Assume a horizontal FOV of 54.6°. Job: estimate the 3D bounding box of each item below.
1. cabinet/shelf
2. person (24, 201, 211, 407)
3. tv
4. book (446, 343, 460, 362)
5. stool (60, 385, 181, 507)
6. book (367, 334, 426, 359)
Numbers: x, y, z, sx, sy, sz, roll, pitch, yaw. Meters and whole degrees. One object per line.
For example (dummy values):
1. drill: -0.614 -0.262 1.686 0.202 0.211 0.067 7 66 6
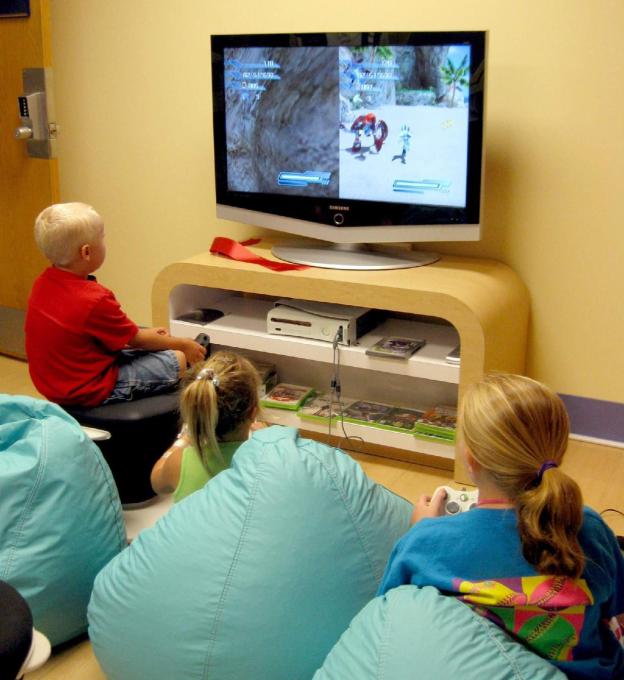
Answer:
1. cabinet/shelf: 0.079 0.054 2.687 1.603 0.749 0.591 9 18 30
2. person: -0.679 -0.147 2.228 0.702 0.682 0.430 -8 19 -40
3. tv: 0.143 -0.781 2.474 1.313 0.851 0.401 16 29 35
4. book: 0.535 0.046 2.265 0.048 0.024 0.201 5 14 15
5. stool: -0.648 0.315 2.072 0.374 0.282 0.358 -6 12 -30
6. book: 0.326 0.026 2.319 0.120 0.027 0.127 9 25 28
